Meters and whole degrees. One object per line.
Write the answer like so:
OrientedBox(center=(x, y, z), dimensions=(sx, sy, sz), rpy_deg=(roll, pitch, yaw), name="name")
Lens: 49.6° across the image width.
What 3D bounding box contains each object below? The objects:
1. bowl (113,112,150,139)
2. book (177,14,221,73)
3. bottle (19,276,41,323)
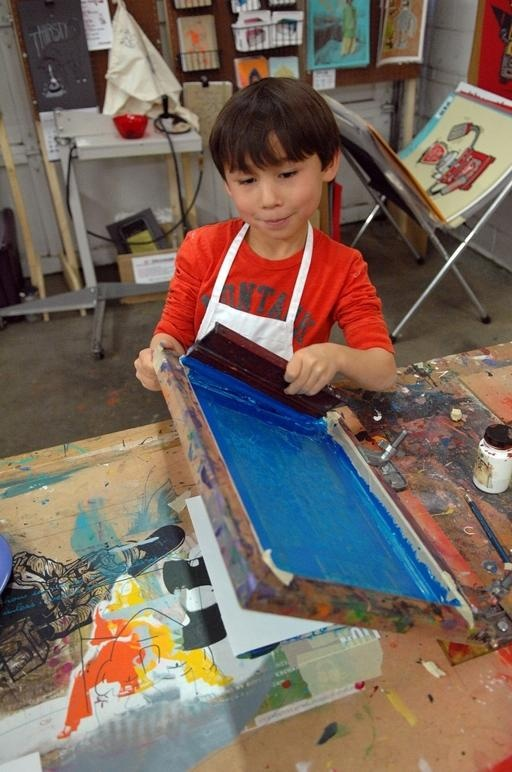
OrientedBox(center=(-0.548, -1.145, 2.412), dimensions=(0.124, 0.071, 0.123), rpy_deg=(-1, 40, 1), name="bowl")
OrientedBox(center=(-0.271, -1.621, 2.623), dimensions=(0.212, 0.200, 0.050), rpy_deg=(-12, 24, -15), name="book")
OrientedBox(center=(-1.162, -0.439, 2.850), dimensions=(0.122, 0.207, 0.132), rpy_deg=(4, 57, -6), name="bottle")
